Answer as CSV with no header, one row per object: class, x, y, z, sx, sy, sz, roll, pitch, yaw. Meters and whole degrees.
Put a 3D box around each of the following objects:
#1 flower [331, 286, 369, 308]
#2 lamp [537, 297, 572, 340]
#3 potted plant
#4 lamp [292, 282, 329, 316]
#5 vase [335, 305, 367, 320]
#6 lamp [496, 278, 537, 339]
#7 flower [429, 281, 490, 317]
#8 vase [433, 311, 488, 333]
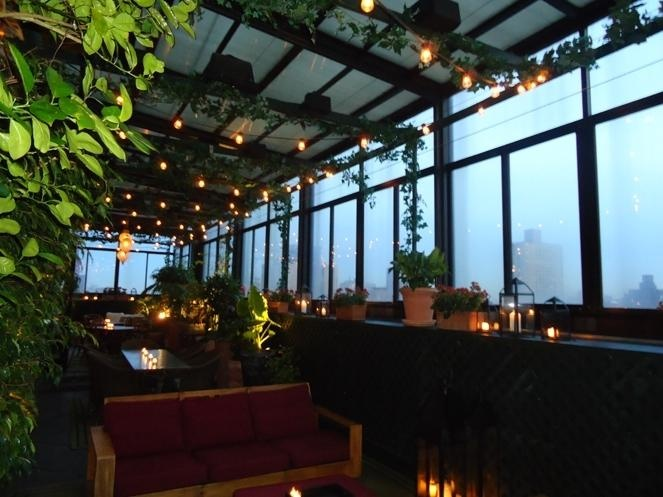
flower,0.254,0.633,6.523,0.436,0.300,0.459,-1,2,4
lamp,1.806,0.609,4.053,0.216,0.426,0.229,-5,-34,24
potted plant,0.863,0.421,5.295,0.647,0.887,0.691,3,-13,-5
lamp,-0.317,0.817,7.263,0.574,0.428,0.611,2,-4,5
vase,0.255,0.786,6.096,0.223,0.152,0.236,6,-8,-27
lamp,1.559,0.480,4.243,0.283,0.462,0.366,-2,-5,20
flower,1.146,0.544,4.771,0.560,0.290,0.530,6,-15,-42
vase,1.166,0.659,4.572,0.126,0.181,0.483,4,-7,-44
